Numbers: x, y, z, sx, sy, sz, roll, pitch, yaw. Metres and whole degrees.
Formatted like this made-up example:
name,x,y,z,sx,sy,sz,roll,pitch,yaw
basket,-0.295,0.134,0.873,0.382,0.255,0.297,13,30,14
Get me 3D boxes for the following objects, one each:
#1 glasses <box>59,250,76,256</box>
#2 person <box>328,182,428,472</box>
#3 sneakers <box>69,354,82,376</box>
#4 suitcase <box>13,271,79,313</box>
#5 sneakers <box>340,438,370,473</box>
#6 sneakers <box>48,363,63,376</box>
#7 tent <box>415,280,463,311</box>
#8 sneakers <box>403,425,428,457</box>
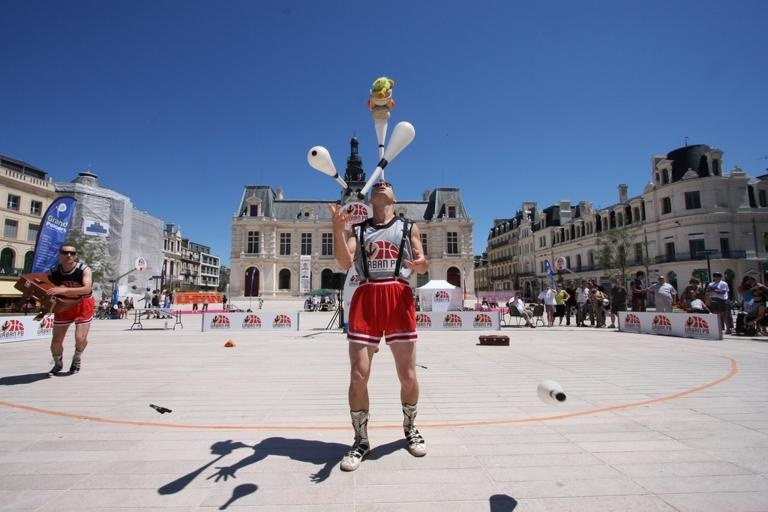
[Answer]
name,x,y,z,sx,sy,sz,roll,pitch,yaw
glasses,-5.426,-0.028,8.135,0.086,0.101,0.225,4,9,25
person,-0.033,0.695,5.573,1.074,3.154,1.325,4,10,29
sneakers,-5.518,1.989,8.468,0.154,0.408,0.183,1,-9,-22
suitcase,-5.563,0.630,7.741,0.743,0.230,0.729,24,13,-38
sneakers,-0.320,2.240,5.276,0.178,0.217,0.423,4,10,27
sneakers,-5.767,2.017,8.275,0.183,0.216,0.245,-6,10,-31
tent,2.836,1.844,23.566,1.950,1.175,1.723,-1,-14,6
sneakers,0.374,2.158,5.489,0.258,0.240,0.341,0,9,3
